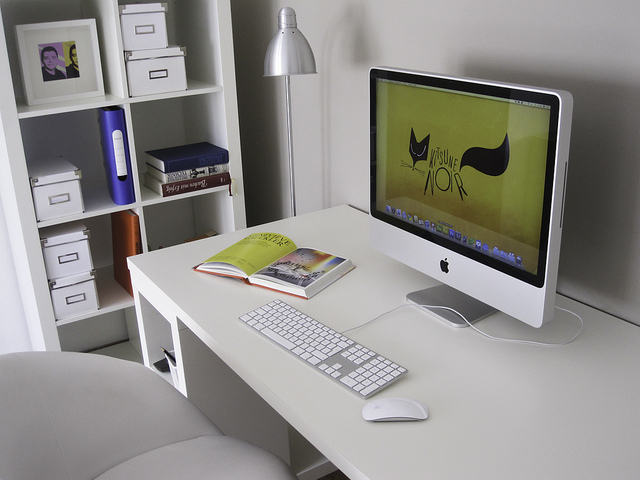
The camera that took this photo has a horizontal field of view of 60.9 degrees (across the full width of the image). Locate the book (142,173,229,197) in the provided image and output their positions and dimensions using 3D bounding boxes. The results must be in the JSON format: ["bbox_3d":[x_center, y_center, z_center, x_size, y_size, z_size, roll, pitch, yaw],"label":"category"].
[{"bbox_3d":[-0.568,-0.238,2.317,0.176,0.037,0.178,-13,23,-35],"label":"book"}]

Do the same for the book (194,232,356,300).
[{"bbox_3d":[-0.137,0.066,1.640,0.437,0.061,0.246,13,26,29],"label":"book"}]

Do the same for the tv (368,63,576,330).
[{"bbox_3d":[0.375,-0.102,1.304,0.187,0.463,0.525,-21,33,-29],"label":"tv"}]

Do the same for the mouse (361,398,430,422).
[{"bbox_3d":[0.147,0.344,1.091,0.103,0.025,0.055,-3,17,5],"label":"mouse"}]

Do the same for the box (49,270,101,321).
[{"bbox_3d":[-1.005,0.201,2.217,0.173,0.138,0.180,-13,32,-23],"label":"box"}]

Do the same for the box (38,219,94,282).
[{"bbox_3d":[-1.052,0.034,2.244,0.182,0.177,0.204,-13,25,-28],"label":"box"}]

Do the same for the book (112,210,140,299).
[{"bbox_3d":[-0.807,0.055,2.249,0.055,0.340,0.279,-8,20,-25],"label":"book"}]

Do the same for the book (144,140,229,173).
[{"bbox_3d":[-0.565,-0.358,2.321,0.213,0.053,0.215,-12,21,-32],"label":"book"}]

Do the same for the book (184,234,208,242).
[{"bbox_3d":[-0.576,-0.010,2.536,0.059,0.015,0.057,-21,18,-36],"label":"book"}]

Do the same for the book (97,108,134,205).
[{"bbox_3d":[-0.836,-0.335,2.192,0.156,0.378,0.074,14,26,34],"label":"book"}]
